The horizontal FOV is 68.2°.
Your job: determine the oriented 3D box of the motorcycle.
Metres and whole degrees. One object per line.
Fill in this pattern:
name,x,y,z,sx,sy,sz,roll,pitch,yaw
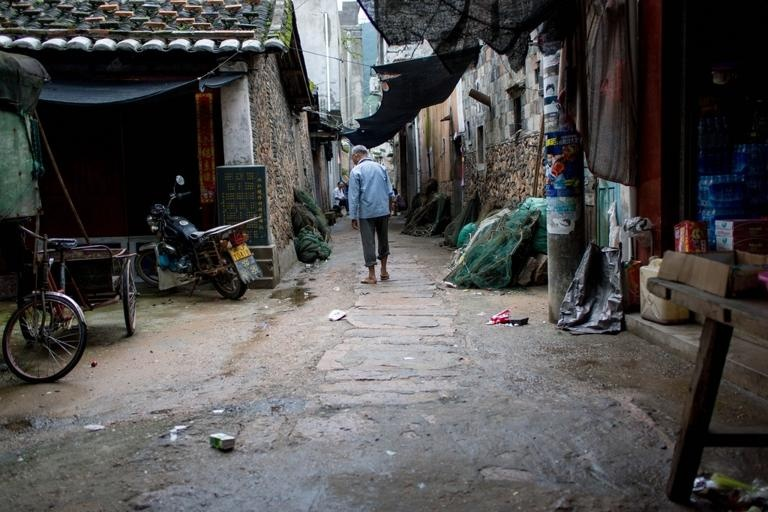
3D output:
motorcycle,-3.112,-0.307,9.163,2.194,1.941,1.031,8,15,39

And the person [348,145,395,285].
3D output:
person,-0.231,-0.678,9.687,0.690,2.321,0.989,-1,12,2

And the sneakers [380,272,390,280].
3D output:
sneakers,-0.001,0.370,9.913,0.118,0.132,0.312,-2,-5,3

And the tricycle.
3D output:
tricycle,-3.695,0.555,6.334,1.168,1.247,2.018,0,3,-5

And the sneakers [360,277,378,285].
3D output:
sneakers,-0.269,0.425,9.523,0.219,0.088,0.117,3,6,17
